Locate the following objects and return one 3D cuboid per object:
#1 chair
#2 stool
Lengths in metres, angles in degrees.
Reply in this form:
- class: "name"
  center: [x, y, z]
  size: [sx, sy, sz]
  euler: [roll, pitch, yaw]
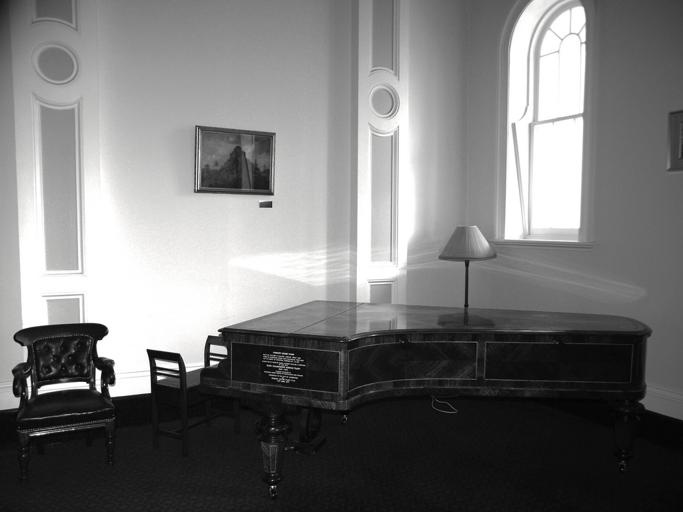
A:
- class: "chair"
  center: [-2.362, 1.193, 4.938]
  size: [0.814, 1.065, 0.822]
  euler: [-2, 5, -40]
- class: "stool"
  center: [-1.401, 1.287, 5.256]
  size: [0.485, 0.845, 0.575]
  euler: [-7, -11, 39]
